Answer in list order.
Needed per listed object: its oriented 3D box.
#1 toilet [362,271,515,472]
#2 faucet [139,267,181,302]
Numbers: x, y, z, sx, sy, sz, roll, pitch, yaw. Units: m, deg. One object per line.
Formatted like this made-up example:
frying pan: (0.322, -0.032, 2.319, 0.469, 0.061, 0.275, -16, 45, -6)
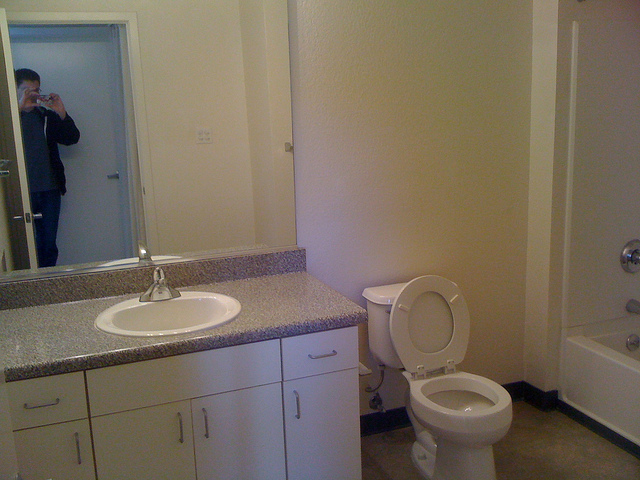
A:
toilet: (0.588, 0.660, 2.629, 0.543, 0.962, 0.784, -7, 15, -16)
faucet: (-0.698, 0.193, 2.329, 0.189, 0.146, 0.058, -7, 10, -21)
